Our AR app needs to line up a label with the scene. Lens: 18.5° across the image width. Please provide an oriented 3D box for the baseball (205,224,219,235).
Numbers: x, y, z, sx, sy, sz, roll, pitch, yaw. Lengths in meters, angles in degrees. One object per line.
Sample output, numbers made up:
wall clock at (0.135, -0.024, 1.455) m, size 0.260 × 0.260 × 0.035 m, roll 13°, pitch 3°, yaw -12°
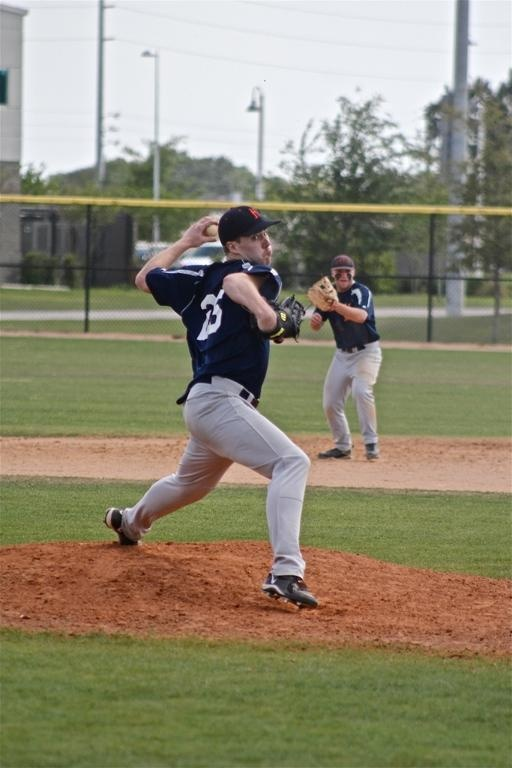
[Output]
baseball at (-0.194, -0.753, 7.714) m, size 0.053 × 0.068 × 0.055 m, roll 9°, pitch 15°, yaw 27°

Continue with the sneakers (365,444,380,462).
sneakers at (0.877, 0.484, 11.437) m, size 0.053 × 0.124 × 0.166 m, roll 5°, pitch 10°, yaw 29°

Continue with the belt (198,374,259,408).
belt at (-0.079, 0.029, 7.429) m, size 0.136 × 0.063 × 0.183 m, roll 37°, pitch 5°, yaw 38°

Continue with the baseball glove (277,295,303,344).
baseball glove at (0.192, -0.320, 7.442) m, size 0.077 × 0.212 × 0.132 m, roll 16°, pitch -30°, yaw 2°

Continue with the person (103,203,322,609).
person at (-0.133, 0.075, 7.574) m, size 0.544 × 1.853 × 1.194 m, roll -5°, pitch 11°, yaw -38°

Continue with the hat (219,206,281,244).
hat at (-0.023, -0.764, 7.473) m, size 0.234 × 0.135 × 0.154 m, roll -21°, pitch 15°, yaw 16°

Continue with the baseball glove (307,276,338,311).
baseball glove at (0.500, -0.624, 10.935) m, size 0.185 × 0.232 × 0.075 m, roll -26°, pitch -21°, yaw -17°

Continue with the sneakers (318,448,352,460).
sneakers at (0.608, 0.506, 11.501) m, size 0.243 × 0.111 × 0.092 m, roll 4°, pitch -1°, yaw -11°

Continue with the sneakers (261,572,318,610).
sneakers at (0.176, 0.968, 7.365) m, size 0.264 × 0.190 × 0.193 m, roll 2°, pitch 8°, yaw 2°
